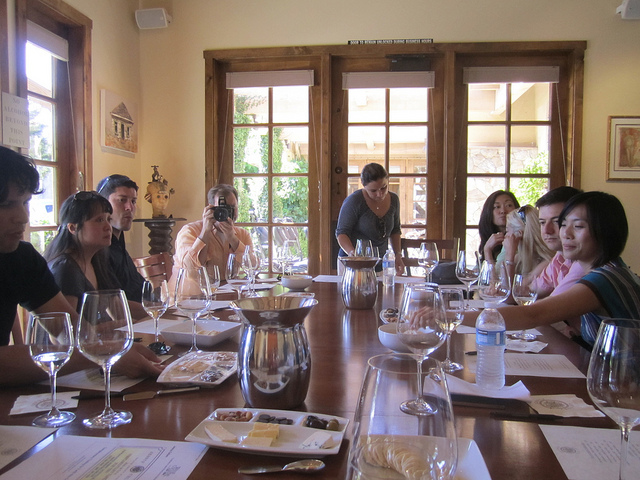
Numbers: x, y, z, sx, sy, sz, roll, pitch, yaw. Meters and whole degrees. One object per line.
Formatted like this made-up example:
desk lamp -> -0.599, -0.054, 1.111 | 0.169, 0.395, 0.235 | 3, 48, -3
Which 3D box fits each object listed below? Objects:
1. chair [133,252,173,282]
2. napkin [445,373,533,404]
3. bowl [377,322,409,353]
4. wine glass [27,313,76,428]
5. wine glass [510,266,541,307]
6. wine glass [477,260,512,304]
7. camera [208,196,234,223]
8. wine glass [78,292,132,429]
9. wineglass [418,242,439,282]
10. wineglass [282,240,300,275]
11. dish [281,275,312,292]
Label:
chair -> -0.988, 0.166, 3.018 | 0.124, 0.167, 0.146 | -5, 13, -27
napkin -> 0.441, 0.392, 1.324 | 0.142, 0.037, 0.143 | 1, -4, 11
bowl -> 0.231, 0.306, 1.605 | 0.087, 0.055, 0.091 | -1, -7, 0
wine glass -> -0.693, 0.306, 1.310 | 0.100, 0.235, 0.307 | -6, 12, -28
wine glass -> 0.787, 0.223, 1.951 | 0.102, 0.179, 0.103 | 3, 6, 17
wine glass -> 0.652, 0.177, 1.871 | 0.122, 0.177, 0.103 | -5, -31, 30
camera -> -0.652, -0.189, 3.381 | 0.181, 0.189, 0.139 | 0, -1, -2
wine glass -> -0.551, 0.278, 1.304 | 0.130, 0.288, 0.307 | -4, 12, -22
wineglass -> 0.570, 0.108, 2.663 | 0.095, 0.214, 0.204 | 3, 11, 13
wineglass -> -0.225, 0.120, 3.876 | 0.198, 0.297, 0.209 | 0, -3, -3
dish -> -0.120, 0.221, 2.582 | 0.142, 0.065, 0.090 | -5, 12, -26
